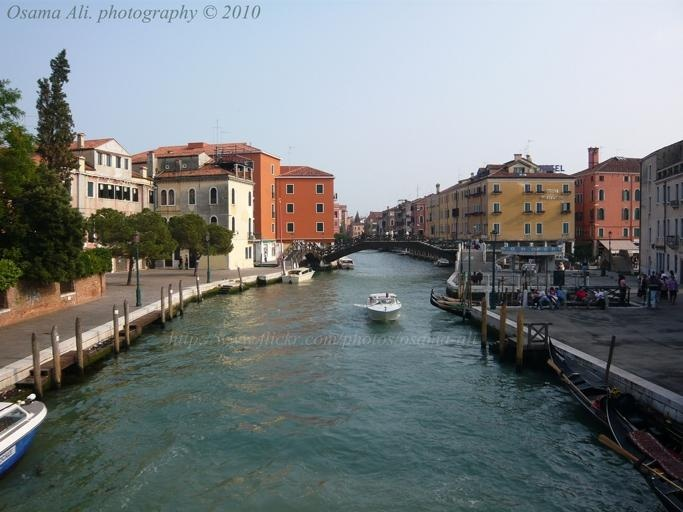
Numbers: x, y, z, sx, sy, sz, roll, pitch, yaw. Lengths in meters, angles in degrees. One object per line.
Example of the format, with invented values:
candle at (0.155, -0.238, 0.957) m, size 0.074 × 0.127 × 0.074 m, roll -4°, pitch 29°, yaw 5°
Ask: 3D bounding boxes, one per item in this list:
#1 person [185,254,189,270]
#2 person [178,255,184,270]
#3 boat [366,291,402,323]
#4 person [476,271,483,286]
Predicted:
person at (-18.290, 0.701, 69.041) m, size 0.430 × 1.269 × 0.557 m, roll -3°, pitch 15°, yaw -14°
person at (-19.013, 0.739, 68.963) m, size 0.671 × 1.339 × 0.680 m, roll -3°, pitch 15°, yaw -15°
boat at (2.992, 3.973, 42.199) m, size 2.259 × 1.573 × 2.713 m, roll 1°, pitch 14°, yaw 0°
person at (11.892, 1.930, 50.588) m, size 0.509 × 1.084 × 1.047 m, roll 4°, pitch 15°, yaw 12°
